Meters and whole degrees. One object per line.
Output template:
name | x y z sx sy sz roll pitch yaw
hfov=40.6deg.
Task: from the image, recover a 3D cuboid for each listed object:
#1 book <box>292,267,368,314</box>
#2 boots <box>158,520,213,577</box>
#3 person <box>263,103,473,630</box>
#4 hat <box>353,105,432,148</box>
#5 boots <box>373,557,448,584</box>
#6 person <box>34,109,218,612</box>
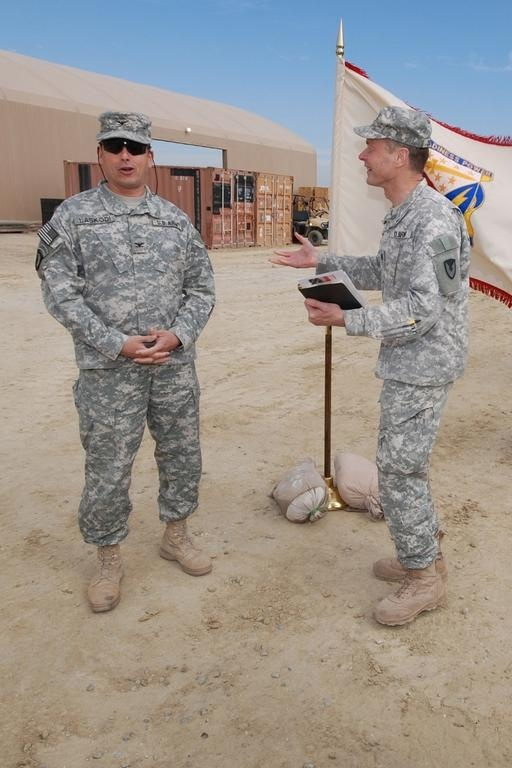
book | 0.258 -0.324 2.434 0.188 0.187 0.041 -1 58 35
boots | -0.305 0.716 3.111 0.331 0.197 0.123 15 19 43
person | 0.516 -0.070 2.707 0.627 1.906 0.865 4 21 9
hat | 0.486 -0.897 2.470 0.241 0.092 0.151 15 41 18
boots | 0.629 0.765 2.946 0.348 0.143 0.120 1 56 6
person | -0.494 -0.075 2.800 0.778 1.935 0.544 -17 27 -38
